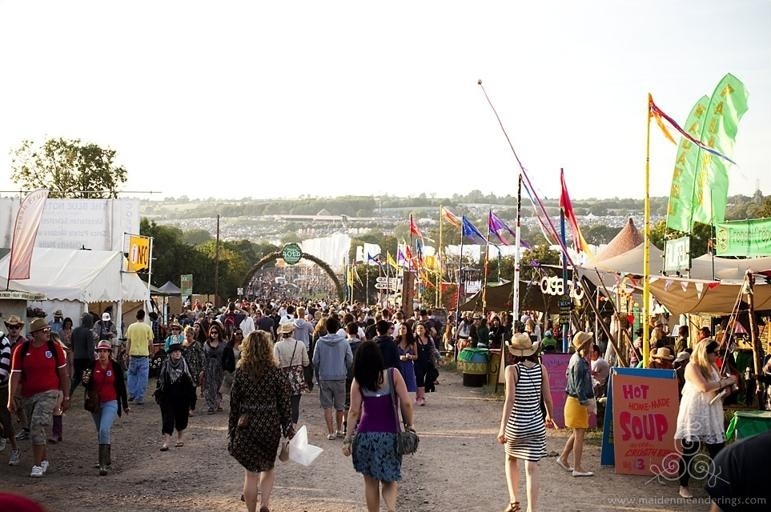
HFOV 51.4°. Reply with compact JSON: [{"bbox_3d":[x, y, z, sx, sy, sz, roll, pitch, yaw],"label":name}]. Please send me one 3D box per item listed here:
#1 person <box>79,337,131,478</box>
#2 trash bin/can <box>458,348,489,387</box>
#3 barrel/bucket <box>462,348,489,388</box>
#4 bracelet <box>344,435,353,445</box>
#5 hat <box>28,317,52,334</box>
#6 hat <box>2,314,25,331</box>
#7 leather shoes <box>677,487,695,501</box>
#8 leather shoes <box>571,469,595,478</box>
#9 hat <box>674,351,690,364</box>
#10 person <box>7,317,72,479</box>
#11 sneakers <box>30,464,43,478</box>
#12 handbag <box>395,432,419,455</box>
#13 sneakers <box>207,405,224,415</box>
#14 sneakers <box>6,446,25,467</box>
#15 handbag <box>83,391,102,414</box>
[{"bbox_3d":[-5.107,2.690,14.497,0.650,2.204,0.936,1,4,4],"label":"person"},{"bbox_3d":[2.706,3.320,24.325,0.959,1.025,1.012,-2,-4,23],"label":"trash bin/can"},{"bbox_3d":[2.732,3.330,24.240,0.987,1.059,0.968,6,-8,1],"label":"barrel/bucket"},{"bbox_3d":[-0.555,2.743,12.041,0.116,0.093,0.157,0,-6,-10],"label":"bracelet"},{"bbox_3d":[-6.219,1.264,14.279,0.283,0.165,0.294,-11,5,16],"label":"hat"},{"bbox_3d":[-7.957,1.385,17.067,0.525,0.278,0.633,1,-24,-15],"label":"hat"},{"bbox_3d":[5.051,3.957,13.538,0.296,0.154,0.285,4,5,43],"label":"leather shoes"},{"bbox_3d":[3.557,3.870,14.424,0.383,0.168,0.145,1,0,-5],"label":"leather shoes"},{"bbox_3d":[6.175,2.083,16.644,0.295,0.172,0.228,7,-2,-5],"label":"hat"},{"bbox_3d":[-6.218,2.437,14.240,0.843,2.663,0.867,2,4,17],"label":"person"},{"bbox_3d":[-6.026,3.700,13.840,0.114,0.134,0.322,0,-8,-13],"label":"sneakers"},{"bbox_3d":[0.310,2.741,11.851,0.328,0.334,0.208,0,4,-11],"label":"handbag"},{"bbox_3d":[-4.136,3.698,19.430,0.154,0.206,0.479,2,-5,10],"label":"sneakers"},{"bbox_3d":[-6.852,3.648,14.781,0.179,0.249,0.552,-1,9,-6],"label":"sneakers"},{"bbox_3d":[-5.307,2.646,14.487,0.278,0.402,0.225,0,4,-10],"label":"handbag"}]
